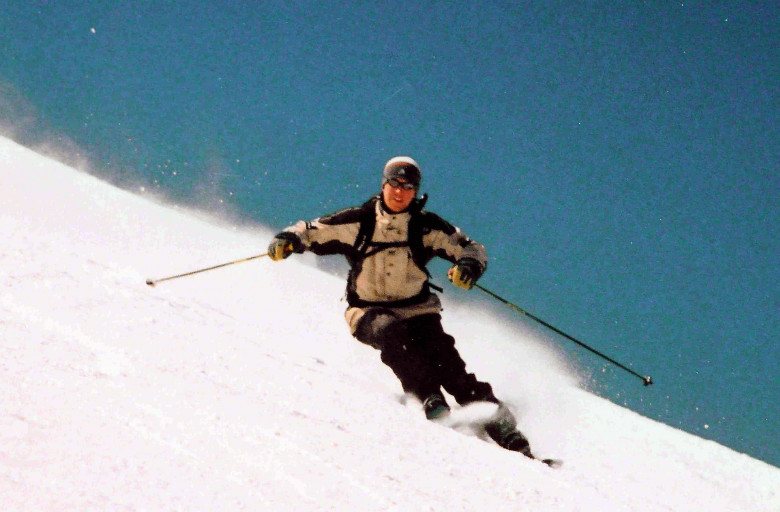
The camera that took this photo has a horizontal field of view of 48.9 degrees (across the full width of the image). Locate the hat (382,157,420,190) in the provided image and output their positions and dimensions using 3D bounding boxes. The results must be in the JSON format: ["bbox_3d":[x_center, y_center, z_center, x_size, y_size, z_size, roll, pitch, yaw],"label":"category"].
[{"bbox_3d":[0.139,-0.846,8.737,0.402,0.445,0.326,3,78,2],"label":"hat"}]

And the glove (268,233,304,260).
[{"bbox_3d":[-1.090,-0.075,8.820,0.334,0.245,0.303,8,73,-1],"label":"glove"}]

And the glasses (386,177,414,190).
[{"bbox_3d":[0.100,-0.707,8.519,0.278,0.094,0.076,12,50,0],"label":"glasses"}]

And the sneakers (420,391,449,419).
[{"bbox_3d":[0.423,1.397,7.992,0.247,0.112,0.231,-16,55,-21],"label":"sneakers"}]
